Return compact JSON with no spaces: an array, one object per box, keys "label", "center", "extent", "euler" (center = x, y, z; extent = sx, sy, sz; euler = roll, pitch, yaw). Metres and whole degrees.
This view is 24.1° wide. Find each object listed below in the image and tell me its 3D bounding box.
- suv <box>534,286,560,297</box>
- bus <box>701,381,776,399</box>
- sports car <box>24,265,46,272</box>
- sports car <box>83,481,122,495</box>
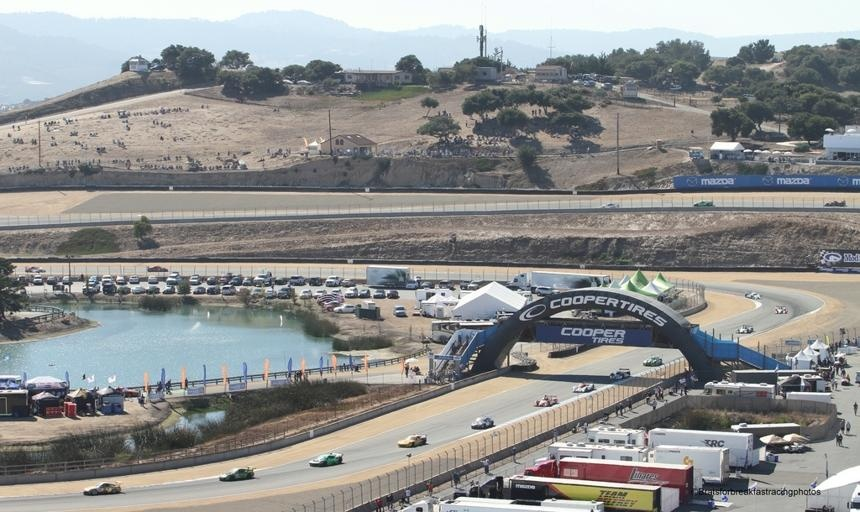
[{"label":"suv","center":[22.488,6.761,387.719],"extent":[4.176,1.391,2.092],"euler":[-1,2,11]},{"label":"bus","center":[54.101,23.251,348.557],"extent":[9.123,2.640,4.291],"euler":[1,1,9]},{"label":"sports car","center":[-79.905,2.542,405.536],"extent":[3.886,0.935,2.760],"euler":[3,9,30]},{"label":"sports car","center":[-54.857,39.036,337.771],"extent":[5.982,1.597,2.430],"euler":[1,-1,-4]}]
